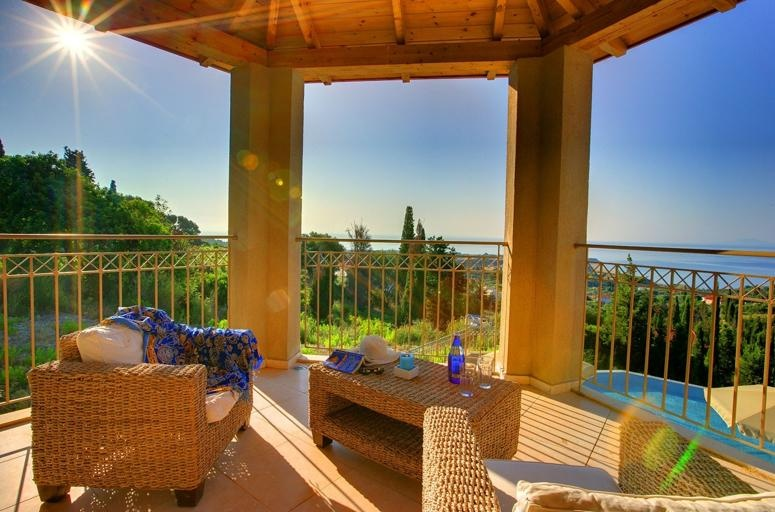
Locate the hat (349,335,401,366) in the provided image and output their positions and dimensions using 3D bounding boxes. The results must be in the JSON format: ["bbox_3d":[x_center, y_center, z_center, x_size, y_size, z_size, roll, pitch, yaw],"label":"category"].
[{"bbox_3d":[-0.053,1.078,5.764,0.349,0.141,0.381,8,0,41],"label":"hat"}]

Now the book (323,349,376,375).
[{"bbox_3d":[-0.435,1.165,5.549,0.348,0.138,0.282,9,0,16],"label":"book"}]

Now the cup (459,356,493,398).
[{"bbox_3d":[0.999,1.270,5.282,0.234,0.318,0.472,0,-5,36],"label":"cup"}]
